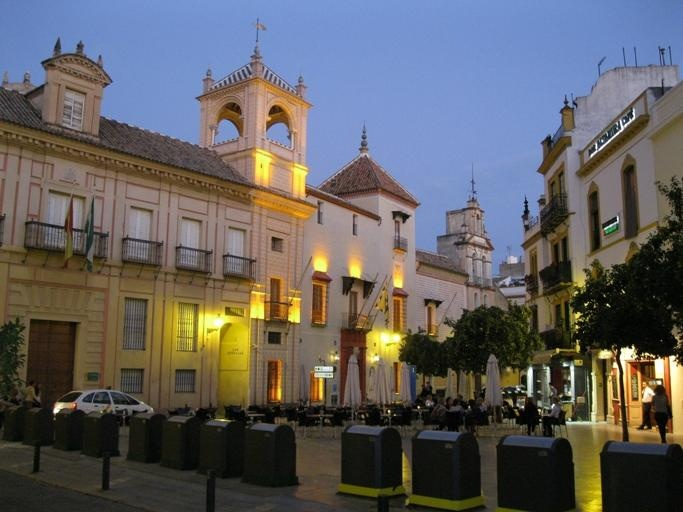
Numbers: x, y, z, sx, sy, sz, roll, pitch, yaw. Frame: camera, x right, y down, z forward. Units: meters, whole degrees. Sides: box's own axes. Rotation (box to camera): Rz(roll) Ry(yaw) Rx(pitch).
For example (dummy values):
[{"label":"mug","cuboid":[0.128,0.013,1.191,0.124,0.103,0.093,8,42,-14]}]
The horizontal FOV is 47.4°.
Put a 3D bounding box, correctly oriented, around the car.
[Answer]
[{"label":"car","cuboid":[-9.008,5.553,29.382,3.258,1.095,1.234,13,-19,-35]}]
